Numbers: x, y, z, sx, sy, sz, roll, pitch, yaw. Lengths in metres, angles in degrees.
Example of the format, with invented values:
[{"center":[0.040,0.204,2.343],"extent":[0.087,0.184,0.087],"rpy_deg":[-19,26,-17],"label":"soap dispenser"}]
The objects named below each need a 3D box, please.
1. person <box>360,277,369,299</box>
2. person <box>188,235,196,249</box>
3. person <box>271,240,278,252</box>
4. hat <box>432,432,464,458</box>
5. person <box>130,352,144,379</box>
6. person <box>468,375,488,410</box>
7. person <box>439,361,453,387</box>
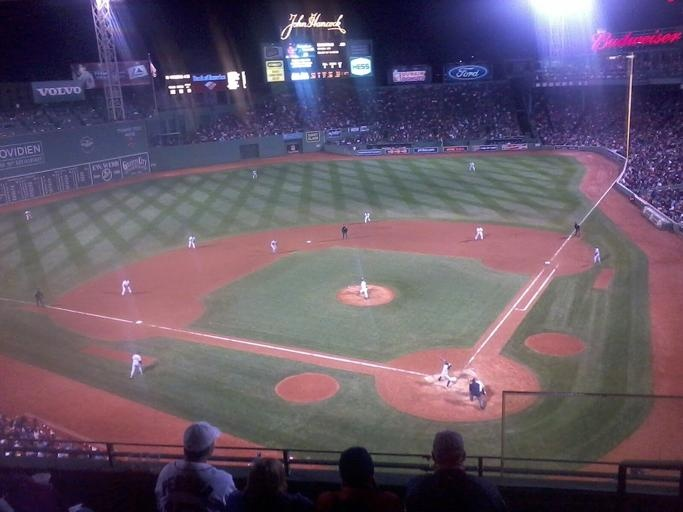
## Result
[{"center":[1.141,1.662,29.691],"extent":[0.330,0.942,0.306],"rpy_deg":[9,40,24],"label":"person"},{"center":[-9.960,-0.921,39.379],"extent":[0.519,0.777,1.832],"rpy_deg":[-7,5,-14],"label":"person"},{"center":[-4.315,-0.633,37.969],"extent":[0.494,0.842,0.405],"rpy_deg":[-14,20,-5],"label":"person"},{"center":[1.531,2.693,8.546],"extent":[0.335,0.358,0.390],"rpy_deg":[0,25,8],"label":"hat"},{"center":[-8.288,4.306,23.837],"extent":[0.495,0.860,1.040],"rpy_deg":[-7,6,-16],"label":"person"},{"center":[4.871,4.736,21.135],"extent":[0.609,0.944,1.188],"rpy_deg":[-4,5,13],"label":"person"},{"center":[3.911,4.433,22.136],"extent":[0.333,0.993,0.413],"rpy_deg":[10,-31,3],"label":"person"}]
